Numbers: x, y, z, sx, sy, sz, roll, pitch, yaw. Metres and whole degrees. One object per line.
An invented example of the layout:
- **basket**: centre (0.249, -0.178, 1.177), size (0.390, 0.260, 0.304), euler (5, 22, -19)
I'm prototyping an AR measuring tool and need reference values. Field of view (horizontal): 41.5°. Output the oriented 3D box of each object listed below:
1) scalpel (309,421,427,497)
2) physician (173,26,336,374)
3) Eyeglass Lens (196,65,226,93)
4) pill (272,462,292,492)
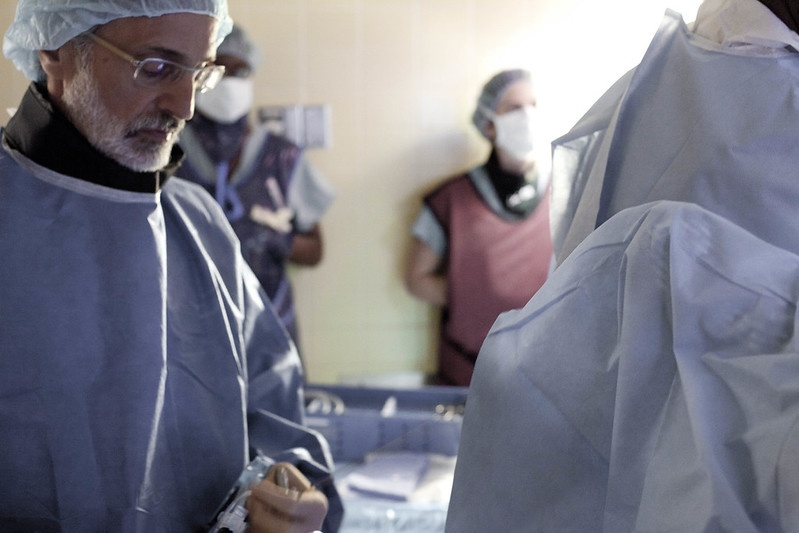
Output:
- **scalpel**: centre (-0.053, 0.571, 3.034), size (0.161, 0.086, 0.217), euler (5, 14, 21)
- **physician**: centre (-0.453, -0.265, 3.367), size (0.281, 1.453, 0.237), euler (-9, 21, -23)
- **Eyeglass Lens**: centre (-0.427, -0.419, 2.410), size (0.061, 0.066, 0.045), euler (-23, -2, 3)
- **pill**: centre (-0.254, 0.459, 2.292), size (0.033, 0.042, 0.061), euler (0, 8, -20)
